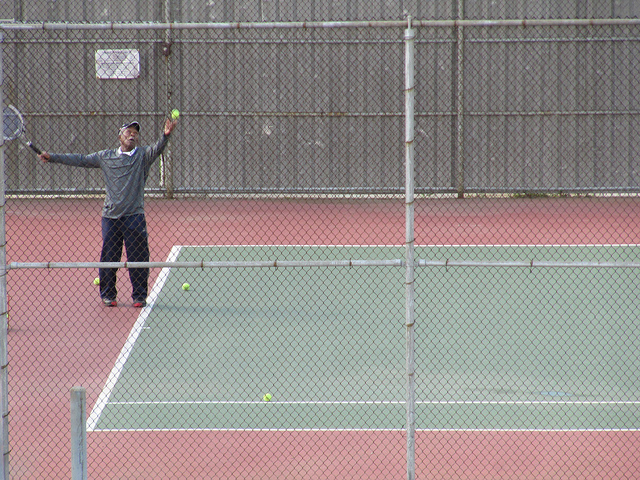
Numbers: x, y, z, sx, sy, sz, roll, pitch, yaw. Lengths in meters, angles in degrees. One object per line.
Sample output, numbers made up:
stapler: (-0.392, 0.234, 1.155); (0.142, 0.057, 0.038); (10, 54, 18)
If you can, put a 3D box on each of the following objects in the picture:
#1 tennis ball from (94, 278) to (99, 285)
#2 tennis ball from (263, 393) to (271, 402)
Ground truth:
tennis ball: (-3.208, 0.591, 13.223); (0.071, 0.073, 0.102); (-10, -73, -37)
tennis ball: (-0.562, 1.683, 9.870); (0.066, 0.069, 0.049); (5, -93, -35)
